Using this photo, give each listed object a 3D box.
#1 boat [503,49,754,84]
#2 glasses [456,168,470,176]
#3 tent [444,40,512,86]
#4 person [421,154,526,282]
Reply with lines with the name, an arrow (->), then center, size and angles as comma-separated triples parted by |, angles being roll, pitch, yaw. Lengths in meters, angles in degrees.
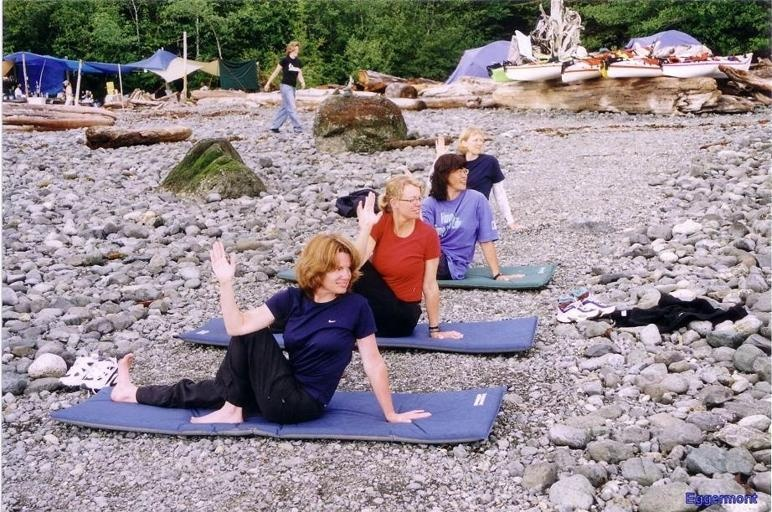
boat -> 6.343, -5.037, 19.880 | 6.079, 0.712, 2.129 | 3, 15, 10
glasses -> 0.877, -0.999, 8.656 | 0.181, 0.092, 0.180 | 0, 2, -30
tent -> 3.634, -7.596, 28.466 | 1.336, 1.521, 2.182 | -13, 21, -37
person -> 0.710, -0.445, 8.989 | 2.037, 1.427, 0.858 | -1, 11, 10
